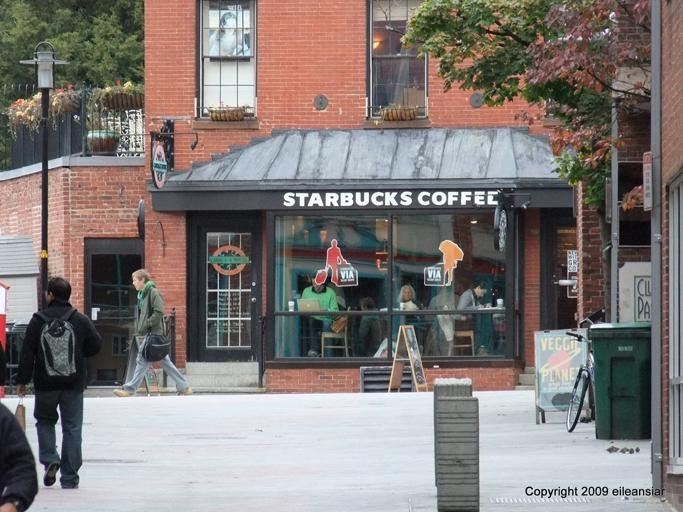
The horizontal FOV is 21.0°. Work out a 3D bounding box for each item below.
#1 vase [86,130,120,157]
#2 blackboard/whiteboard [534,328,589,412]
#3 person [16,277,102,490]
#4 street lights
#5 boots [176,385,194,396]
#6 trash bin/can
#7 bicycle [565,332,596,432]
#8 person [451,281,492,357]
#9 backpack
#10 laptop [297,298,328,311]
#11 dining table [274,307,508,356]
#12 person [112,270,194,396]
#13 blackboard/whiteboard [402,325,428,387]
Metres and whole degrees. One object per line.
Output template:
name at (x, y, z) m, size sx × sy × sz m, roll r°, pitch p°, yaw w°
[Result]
vase at (-4.798, -2.269, 36.613) m, size 0.520 × 0.421 × 0.528 m, roll -5°, pitch -7°, yaw 43°
blackboard/whiteboard at (3.271, 1.756, 28.411) m, size 0.724 × 1.354 × 0.678 m, roll -5°, pitch 1°, yaw 36°
person at (-3.958, 1.727, 25.543) m, size 1.009 × 2.958 × 1.149 m, roll 5°, pitch 4°, yaw -26°
street lights at (-5.882, -1.431, 36.081) m, size 0.720 × 7.192 × 0.847 m, roll -2°, pitch 6°, yaw -36°
boots at (-2.780, 2.430, 32.254) m, size 0.233 × 0.254 × 0.179 m, roll -11°, pitch 4°, yaw 15°
trash bin/can at (4.195, 1.941, 27.855) m, size 1.335 × 2.420 × 1.243 m, roll 1°, pitch -2°, yaw 10°
bicycle at (3.528, 1.958, 28.095) m, size 0.458 × 1.452 × 0.586 m, roll 1°, pitch 2°, yaw 16°
person at (2.457, 1.183, 34.589) m, size 0.576 × 1.365 × 0.526 m, roll 0°, pitch 1°, yaw 20°
backpack at (-3.951, 1.279, 25.402) m, size 0.541 × 0.995 × 0.227 m, roll 0°, pitch -2°, yaw -16°
laptop at (-0.656, 0.952, 34.810) m, size 0.350 × 0.275 × 0.225 m, roll -1°, pitch -4°, yaw 17°
dining table at (1.334, 1.543, 36.139) m, size 3.922 × 0.985 × 2.212 m, roll -1°, pitch -3°, yaw 20°
person at (-3.318, 1.386, 32.085) m, size 1.368 × 2.240 × 0.773 m, roll 1°, pitch -6°, yaw -21°
blackboard/whiteboard at (1.285, 1.885, 33.277) m, size 0.379 × 1.188 × 0.512 m, roll -2°, pitch -3°, yaw 29°
